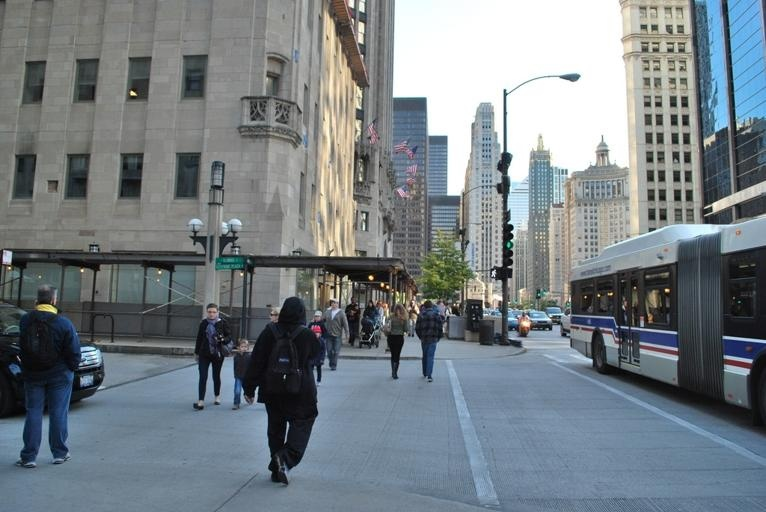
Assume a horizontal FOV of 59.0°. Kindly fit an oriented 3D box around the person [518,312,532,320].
[{"bbox_3d":[9.796,4.191,46.954,0.899,0.507,1.309,-2,-9,12],"label":"person"}]

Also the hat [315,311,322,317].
[{"bbox_3d":[-1.931,1.740,20.251,0.130,0.166,0.181,2,-17,-1],"label":"hat"}]

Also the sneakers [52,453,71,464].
[{"bbox_3d":[-6.413,4.038,13.550,0.133,0.163,0.349,1,1,23],"label":"sneakers"}]

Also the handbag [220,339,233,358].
[{"bbox_3d":[-3.976,2.344,17.278,0.224,0.474,0.512,1,4,-4],"label":"handbag"}]

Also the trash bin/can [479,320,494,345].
[{"bbox_3d":[5.094,3.758,33.155,0.675,1.112,0.524,1,3,1],"label":"trash bin/can"}]

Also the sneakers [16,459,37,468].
[{"bbox_3d":[-6.961,4.046,13.287,0.360,0.176,0.148,7,-7,11],"label":"sneakers"}]

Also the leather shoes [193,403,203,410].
[{"bbox_3d":[-4.644,3.760,17.061,0.237,0.200,0.253,0,4,-17],"label":"leather shoes"}]

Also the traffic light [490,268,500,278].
[{"bbox_3d":[5.388,0.827,32.367,0.430,0.585,1.057,1,4,3],"label":"traffic light"}]

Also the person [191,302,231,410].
[{"bbox_3d":[-4.430,2.553,17.570,0.882,2.665,1.271,0,4,-14],"label":"person"}]

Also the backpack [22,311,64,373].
[{"bbox_3d":[-6.787,1.699,13.457,0.721,1.167,0.364,0,4,-18],"label":"backpack"}]
